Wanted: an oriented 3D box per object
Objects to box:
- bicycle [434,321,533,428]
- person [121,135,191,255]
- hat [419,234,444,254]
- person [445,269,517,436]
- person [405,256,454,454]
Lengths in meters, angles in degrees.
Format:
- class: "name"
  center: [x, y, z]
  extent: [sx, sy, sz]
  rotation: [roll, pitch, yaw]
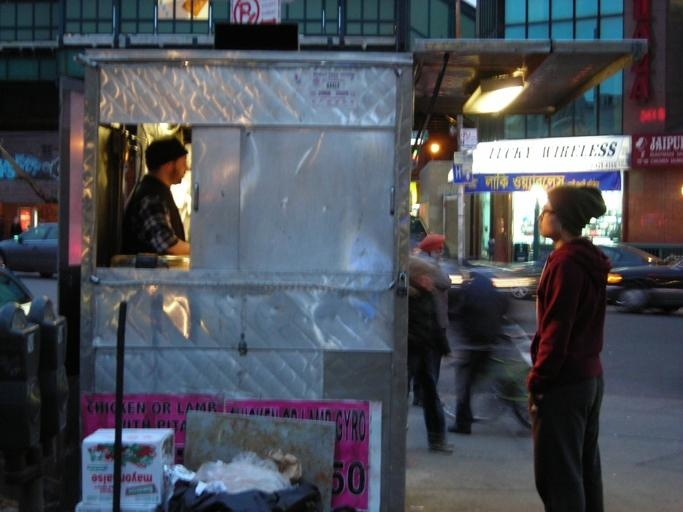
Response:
- class: "bicycle"
  center: [1.841, 1.637, 13.135]
  extent: [0.889, 0.431, 1.673]
  rotation: [1, 37, 7]
- class: "person"
  center: [-1.988, -0.531, 11.591]
  extent: [0.492, 1.483, 1.653]
  rotation: [2, 14, -4]
- class: "hat"
  center: [1.132, -0.162, 13.383]
  extent: [0.315, 0.259, 0.450]
  rotation: [8, 10, 4]
- class: "person"
  center: [1.639, 1.272, 12.920]
  extent: [0.603, 1.788, 0.479]
  rotation: [7, 9, 9]
- class: "person"
  center: [1.029, 1.171, 12.485]
  extent: [0.738, 2.077, 0.599]
  rotation: [8, 9, 15]
